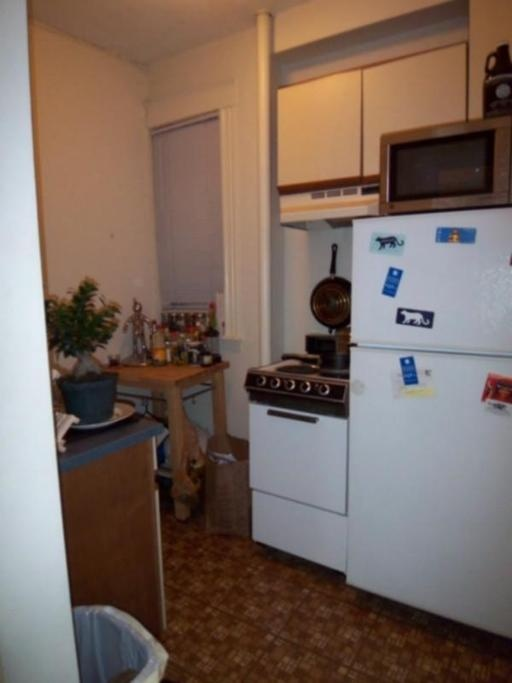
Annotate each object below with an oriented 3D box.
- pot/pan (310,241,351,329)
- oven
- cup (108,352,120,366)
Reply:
[{"bbox_3d":[0.386,-0.279,2.751,0.056,0.406,0.246,1,1,-42],"label":"pot/pan"},{"bbox_3d":[0.313,0.586,2.490,0.600,0.862,0.617,2,5,23],"label":"oven"},{"bbox_3d":[-0.829,0.107,3.039,0.052,0.050,0.059,0,-3,2],"label":"cup"}]
